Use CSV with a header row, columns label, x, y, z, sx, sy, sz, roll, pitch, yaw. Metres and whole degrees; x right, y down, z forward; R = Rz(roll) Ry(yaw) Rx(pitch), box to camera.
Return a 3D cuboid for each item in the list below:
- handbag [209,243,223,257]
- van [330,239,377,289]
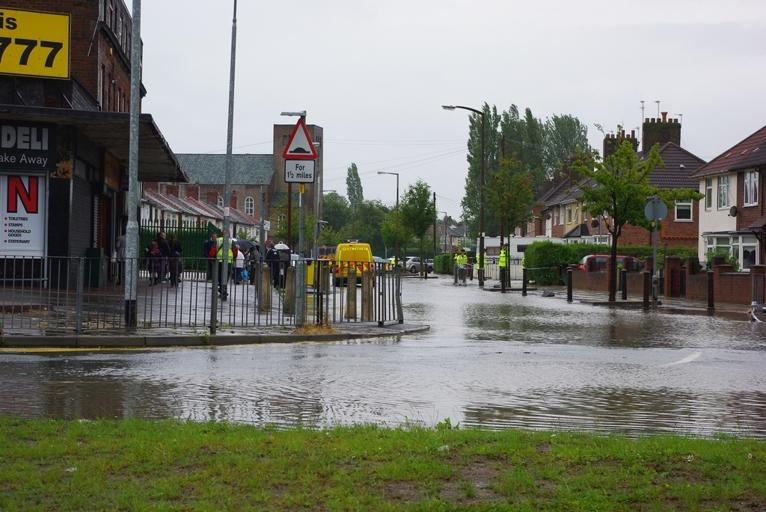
label,x,y,z,sx,sy,sz,roll,pitch,yaw
handbag,-5.570,-0.124,35.468,0.555,0.446,0.806,-4,1,-2
van,-0.678,0.270,27.688,1.041,1.065,1.946,0,0,-3
